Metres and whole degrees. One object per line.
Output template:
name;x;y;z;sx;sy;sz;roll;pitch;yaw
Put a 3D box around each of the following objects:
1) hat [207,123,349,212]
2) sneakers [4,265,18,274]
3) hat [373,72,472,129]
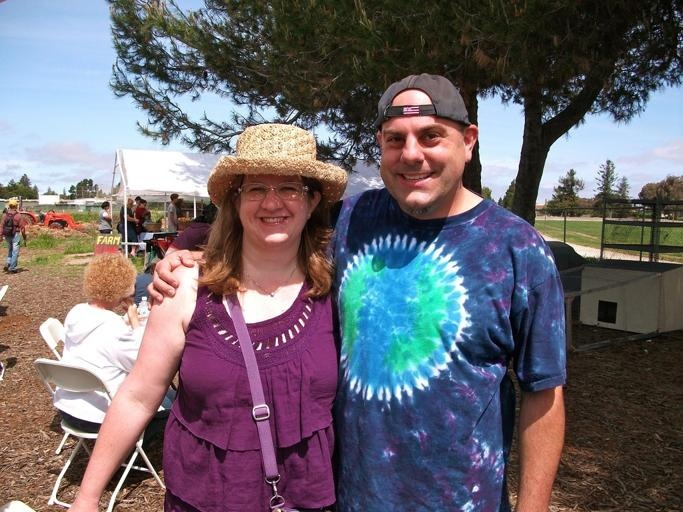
hat;-0.313;-0.467;2.647;0.725;0.333;0.662;-2;-12;7
sneakers;-9.914;0.419;15.160;0.260;0.292;0.148;-1;23;-19
hat;0.411;-0.708;2.368;0.270;0.174;0.295;2;12;32
